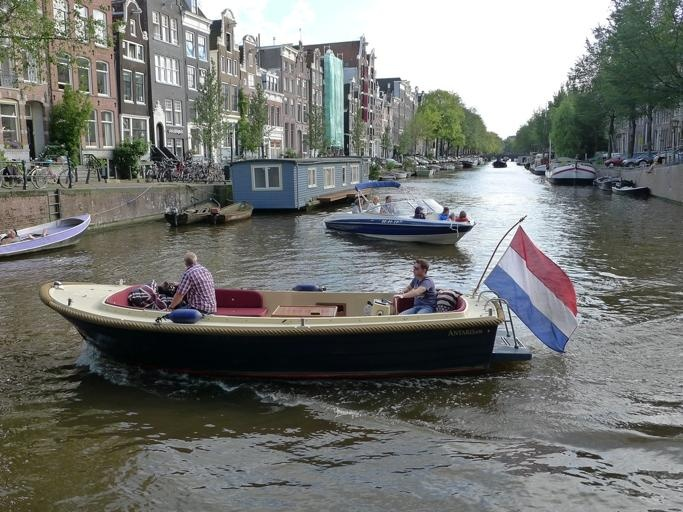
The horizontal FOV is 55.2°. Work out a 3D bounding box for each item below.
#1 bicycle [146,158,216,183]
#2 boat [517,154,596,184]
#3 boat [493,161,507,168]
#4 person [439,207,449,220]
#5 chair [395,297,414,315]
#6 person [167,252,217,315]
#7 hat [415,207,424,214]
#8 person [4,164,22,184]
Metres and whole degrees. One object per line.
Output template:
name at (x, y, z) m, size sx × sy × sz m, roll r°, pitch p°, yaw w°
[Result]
bicycle at (-9.160, -4.856, 38.026) m, size 1.432 × 1.154 × 4.203 m, roll -3°, pitch 0°, yaw 34°
boat at (21.831, -8.444, 64.546) m, size 3.881 × 2.909 × 12.350 m, roll -1°, pitch 10°, yaw 9°
boat at (29.150, -16.934, 121.005) m, size 1.681 × 1.129 × 4.820 m, roll -1°, pitch 5°, yaw 19°
person at (3.795, -1.593, 24.300) m, size 0.312 × 0.788 × 0.354 m, roll -3°, pitch 29°, yaw -1°
chair at (1.098, 0.871, 11.910) m, size 0.416 × 0.336 × 0.277 m, roll -1°, pitch 9°, yaw 2°
person at (-3.044, 0.559, 13.244) m, size 0.990 × 1.138 × 0.987 m, roll 15°, pitch 23°, yaw 28°
hat at (2.864, -1.700, 24.314) m, size 0.221 × 0.258 × 0.300 m, roll -9°, pitch -14°, yaw 40°
person at (-12.337, -3.034, 24.481) m, size 0.735 × 0.796 × 0.360 m, roll -1°, pitch 3°, yaw -41°
